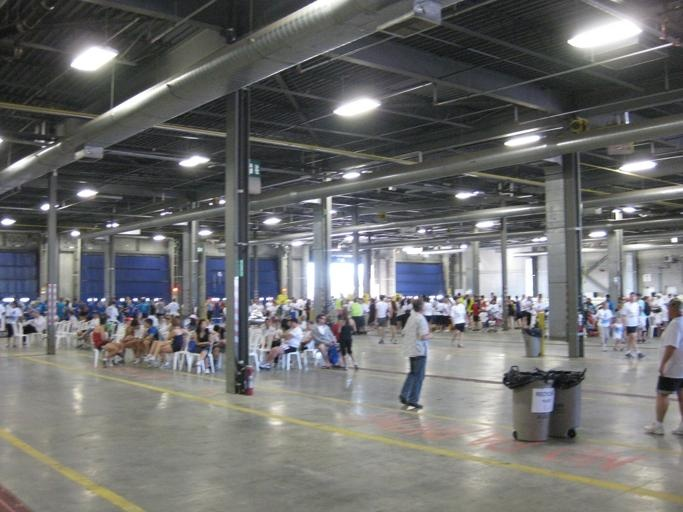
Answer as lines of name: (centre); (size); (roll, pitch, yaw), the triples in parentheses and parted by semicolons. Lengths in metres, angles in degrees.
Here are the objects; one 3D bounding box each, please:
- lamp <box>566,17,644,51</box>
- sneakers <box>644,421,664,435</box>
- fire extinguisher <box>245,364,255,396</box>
lamp: (5.311, -4.483, 11.694); (0.764, 0.328, 1.402); (3, -4, -29)
sneakers: (4.964, 2.737, 9.341); (0.173, 0.123, 0.343); (-1, 0, -26)
fire extinguisher: (-2.067, 2.763, 13.113); (0.187, 0.595, 0.294); (3, -4, -8)
